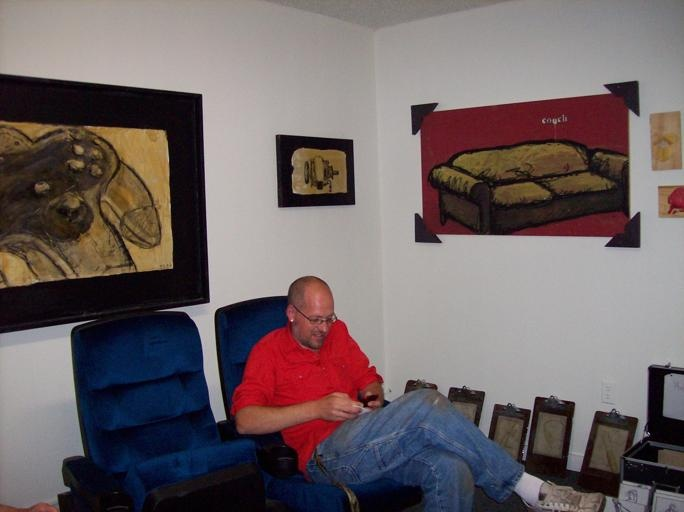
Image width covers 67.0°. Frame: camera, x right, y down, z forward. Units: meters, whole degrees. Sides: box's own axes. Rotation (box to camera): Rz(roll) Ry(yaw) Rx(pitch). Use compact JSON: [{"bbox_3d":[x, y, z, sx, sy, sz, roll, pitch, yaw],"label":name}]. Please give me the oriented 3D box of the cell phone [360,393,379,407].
[{"bbox_3d":[0.131,0.699,2.541,0.073,0.024,0.057,-11,-6,0],"label":"cell phone"}]
